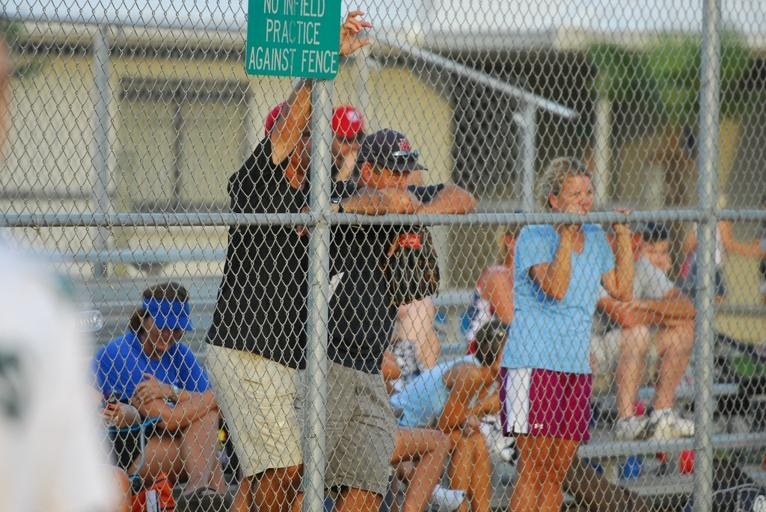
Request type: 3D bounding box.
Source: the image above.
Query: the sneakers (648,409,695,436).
[{"bbox_3d":[2.059,1.194,12.235,0.357,0.268,0.147,-4,14,-38],"label":"sneakers"}]

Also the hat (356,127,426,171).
[{"bbox_3d":[0.035,-0.648,10.639,0.284,0.230,0.258,3,4,18],"label":"hat"}]

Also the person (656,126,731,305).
[{"bbox_3d":[2.233,-0.244,12.226,0.335,0.349,1.253,-13,41,29],"label":"person"}]

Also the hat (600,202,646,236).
[{"bbox_3d":[1.585,-0.240,11.520,0.308,0.129,0.319,1,0,32],"label":"hat"}]

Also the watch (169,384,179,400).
[{"bbox_3d":[-1.407,0.905,11.487,0.028,0.111,0.069,-2,24,24],"label":"watch"}]
